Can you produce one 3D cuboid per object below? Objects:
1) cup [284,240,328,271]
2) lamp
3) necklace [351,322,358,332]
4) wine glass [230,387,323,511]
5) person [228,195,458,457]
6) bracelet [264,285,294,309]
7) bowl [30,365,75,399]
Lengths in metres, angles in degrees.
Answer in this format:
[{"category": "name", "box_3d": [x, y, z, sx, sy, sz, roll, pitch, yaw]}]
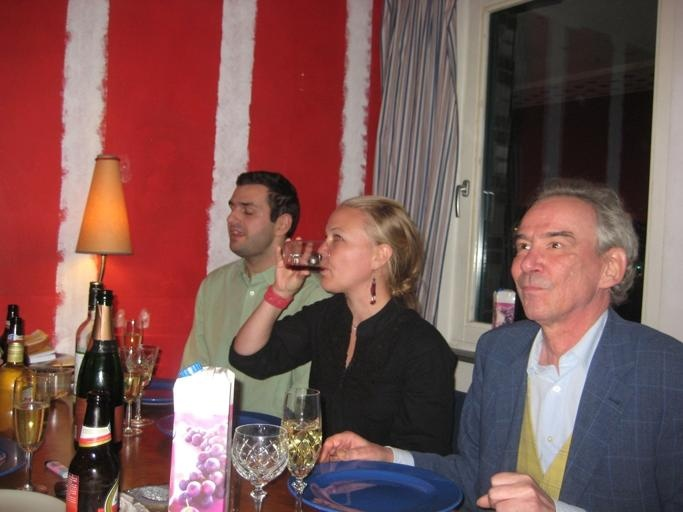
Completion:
[{"category": "cup", "box_3d": [-0.149, -0.003, 2.474, 0.193, 0.137, 0.068, 6, -18, 28]}, {"category": "lamp", "box_3d": [-1.081, -0.127, 2.723, 0.225, 0.648, 0.209, 2, -1, -41]}, {"category": "necklace", "box_3d": [0.047, 0.275, 2.319, 0.025, 0.035, 0.014, -2, -9, 24]}, {"category": "wine glass", "box_3d": [-0.161, 0.508, 1.544, 0.188, 0.298, 0.255, 2, -4, 10]}, {"category": "person", "box_3d": [-0.027, 0.271, 2.287, 0.553, 1.365, 0.713, 11, -17, -28]}, {"category": "bracelet", "box_3d": [-0.255, 0.169, 2.332, 0.079, 0.048, 0.096, 28, 14, 0]}, {"category": "bowl", "box_3d": [-1.060, 0.479, 2.216, 0.125, 0.088, 0.125, -5, -11, -1]}]
